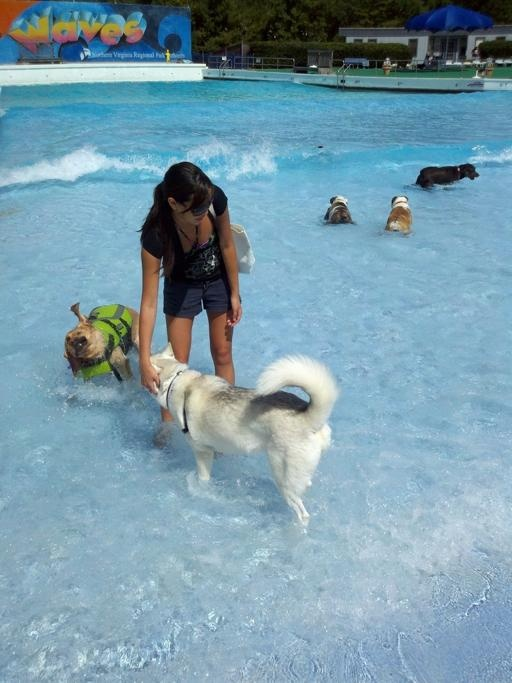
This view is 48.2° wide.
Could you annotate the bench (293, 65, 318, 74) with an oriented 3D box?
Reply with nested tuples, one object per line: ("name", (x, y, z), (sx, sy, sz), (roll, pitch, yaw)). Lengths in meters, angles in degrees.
("bench", (3.060, -16.089, 34.155), (0.847, 0.380, 2.655), (-13, 25, -27))

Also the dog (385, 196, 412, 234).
("dog", (2.286, -1.940, 8.986), (0.341, 0.418, 0.855), (4, 46, 17))

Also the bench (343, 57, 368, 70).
("bench", (6.522, -18.147, 37.631), (1.302, 0.700, 2.383), (-2, 22, -3))

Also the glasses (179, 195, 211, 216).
("glasses", (-0.308, -0.706, 3.012), (0.175, 0.114, 0.094), (-9, 25, -18))

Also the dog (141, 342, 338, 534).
("dog", (-0.114, 0.425, 3.321), (1.367, 0.900, 0.421), (15, 31, 36))

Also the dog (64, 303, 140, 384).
("dog", (-1.203, 0.020, 4.539), (0.447, 0.746, 0.789), (-2, 24, -3))

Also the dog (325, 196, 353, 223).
("dog", (1.338, -2.075, 9.264), (0.386, 0.351, 0.533), (2, 48, 6))
